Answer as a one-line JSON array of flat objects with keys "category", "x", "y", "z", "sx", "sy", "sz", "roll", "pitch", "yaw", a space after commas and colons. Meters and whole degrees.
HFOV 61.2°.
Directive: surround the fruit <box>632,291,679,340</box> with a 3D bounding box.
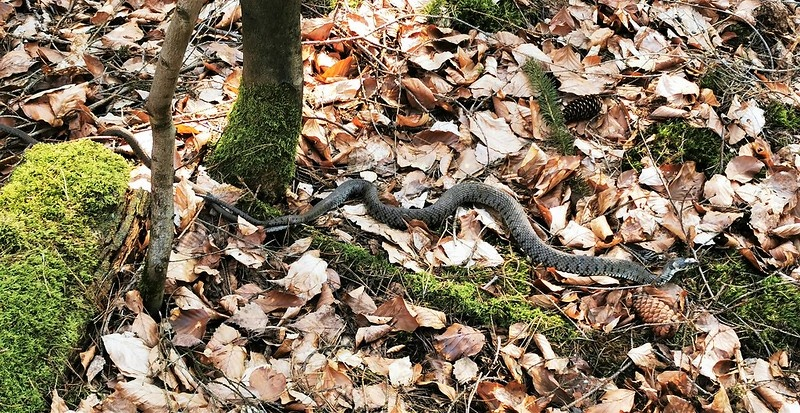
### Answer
[{"category": "fruit", "x": 3.214, "y": 1.366, "z": 8.429, "sx": 0.342, "sy": 0.336, "sz": 0.710, "roll": 30, "pitch": 6, "yaw": -27}]
